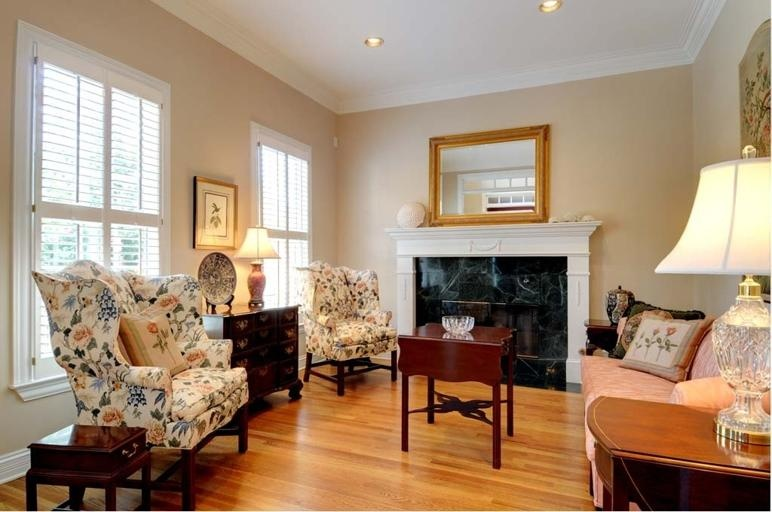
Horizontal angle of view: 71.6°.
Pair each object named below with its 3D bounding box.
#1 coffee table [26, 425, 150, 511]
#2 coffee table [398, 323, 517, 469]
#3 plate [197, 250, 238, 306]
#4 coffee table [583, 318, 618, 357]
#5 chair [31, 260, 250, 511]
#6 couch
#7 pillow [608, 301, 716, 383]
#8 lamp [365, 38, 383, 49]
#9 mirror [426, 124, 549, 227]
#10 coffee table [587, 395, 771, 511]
[{"bbox_3d":[-1.876,1.205,3.473,0.645,0.666,0.623,0,-6,-3],"label":"coffee table"},{"bbox_3d":[0.678,0.941,4.559,1.259,1.232,0.913,-1,-1,26],"label":"coffee table"},{"bbox_3d":[-1.565,0.211,4.952,0.127,0.446,0.453,1,18,30],"label":"plate"},{"bbox_3d":[2.099,0.764,5.228,0.431,0.415,0.313,-1,-3,19],"label":"coffee table"},{"bbox_3d":[-1.901,0.764,4.497,1.624,2.057,1.701,-1,-3,13],"label":"chair"},{"bbox_3d":[1.679,0.936,3.059,0.482,0.526,1.365,0,0,27],"label":"couch"},{"bbox_3d":[2.205,0.684,4.210,0.179,0.558,0.594,31,-5,-28],"label":"pillow"},{"bbox_3d":[-0.118,-2.220,5.579,0.205,0.050,0.188,0,9,-2],"label":"lamp"},{"bbox_3d":[1.270,-0.949,6.323,1.327,1.082,0.097,0,2,20],"label":"mirror"},{"bbox_3d":[1.547,0.926,2.826,0.766,0.699,0.562,0,9,29],"label":"coffee table"}]
